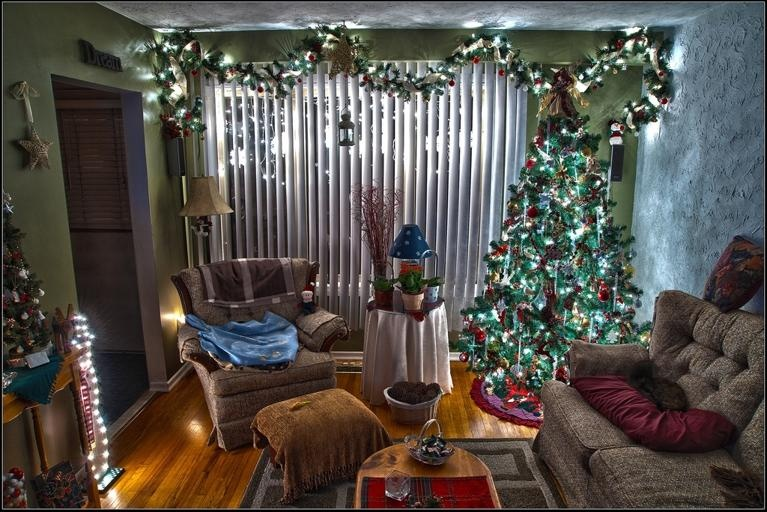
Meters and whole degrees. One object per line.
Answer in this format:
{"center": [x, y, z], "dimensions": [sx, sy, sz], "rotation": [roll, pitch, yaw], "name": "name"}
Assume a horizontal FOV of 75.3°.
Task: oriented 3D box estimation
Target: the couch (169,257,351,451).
{"center": [-1.132, 0.820, 4.498], "dimensions": [1.496, 1.413, 1.390], "rotation": [-2, 10, -15], "name": "couch"}

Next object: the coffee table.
{"center": [0.243, 1.412, 3.181], "dimensions": [0.856, 0.214, 0.506], "rotation": [-4, 9, -5], "name": "coffee table"}

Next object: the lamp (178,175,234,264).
{"center": [-1.768, -0.342, 5.030], "dimensions": [0.477, 0.913, 0.607], "rotation": [-7, 11, -18], "name": "lamp"}

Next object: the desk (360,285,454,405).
{"center": [0.204, 0.898, 4.492], "dimensions": [0.843, 0.931, 0.327], "rotation": [-4, 11, -4], "name": "desk"}

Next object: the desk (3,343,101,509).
{"center": [-2.251, 1.225, 3.402], "dimensions": [0.483, 1.145, 0.527], "rotation": [-13, 14, -41], "name": "desk"}

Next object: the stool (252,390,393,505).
{"center": [-0.427, 1.335, 3.591], "dimensions": [0.833, 0.417, 0.772], "rotation": [-6, 13, -33], "name": "stool"}

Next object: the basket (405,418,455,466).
{"center": [0.315, 1.198, 3.263], "dimensions": [0.279, 0.238, 0.288], "rotation": [13, 9, 44], "name": "basket"}

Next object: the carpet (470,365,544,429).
{"center": [1.205, 1.360, 4.668], "dimensions": [0.679, 0.058, 0.667], "rotation": [0, 14, -19], "name": "carpet"}

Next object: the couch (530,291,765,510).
{"center": [1.832, 1.015, 3.405], "dimensions": [0.767, 0.884, 1.267], "rotation": [14, 10, -3], "name": "couch"}

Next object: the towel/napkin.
{"center": [-1.234, 0.256, 4.629], "dimensions": [0.633, 0.181, 0.490], "rotation": [0, 10, 2], "name": "towel/napkin"}

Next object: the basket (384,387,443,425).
{"center": [0.258, 1.285, 4.202], "dimensions": [0.374, 0.152, 0.334], "rotation": [-2, -2, 0], "name": "basket"}

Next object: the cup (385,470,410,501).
{"center": [0.090, 1.429, 3.093], "dimensions": [0.136, 0.125, 0.135], "rotation": [1, 6, 0], "name": "cup"}
